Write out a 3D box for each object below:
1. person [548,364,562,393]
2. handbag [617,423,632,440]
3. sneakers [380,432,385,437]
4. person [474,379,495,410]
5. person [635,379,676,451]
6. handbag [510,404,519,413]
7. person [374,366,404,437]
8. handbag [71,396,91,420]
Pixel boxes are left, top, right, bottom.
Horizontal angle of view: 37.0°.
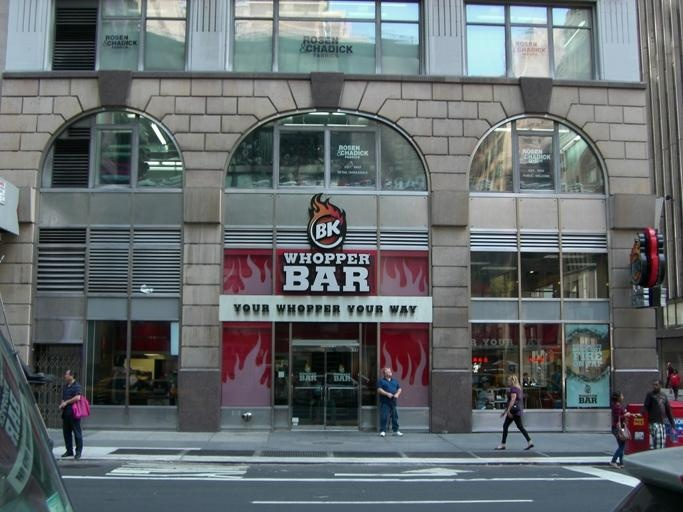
[{"bbox_3d":[7.204,4.087,34.304,0.399,0.919,0.217,2,5,13],"label":"person"},{"bbox_3d":[7.902,4.935,28.621,0.321,0.385,0.270,1,5,8],"label":"handbag"},{"bbox_3d":[1.374,5.736,33.060,0.174,0.138,0.337,1,5,3],"label":"sneakers"},{"bbox_3d":[4.764,4.612,34.039,0.794,1.202,0.861,-2,0,11],"label":"person"},{"bbox_3d":[8.969,4.526,29.049,0.776,1.741,1.156,4,6,34],"label":"person"},{"bbox_3d":[5.250,4.604,30.859,0.266,0.221,0.187,3,3,-8],"label":"handbag"},{"bbox_3d":[1.600,4.703,33.260,0.786,2.172,0.840,0,5,-6],"label":"person"},{"bbox_3d":[-7.263,4.273,28.925,0.290,0.646,0.597,4,6,36],"label":"handbag"}]
